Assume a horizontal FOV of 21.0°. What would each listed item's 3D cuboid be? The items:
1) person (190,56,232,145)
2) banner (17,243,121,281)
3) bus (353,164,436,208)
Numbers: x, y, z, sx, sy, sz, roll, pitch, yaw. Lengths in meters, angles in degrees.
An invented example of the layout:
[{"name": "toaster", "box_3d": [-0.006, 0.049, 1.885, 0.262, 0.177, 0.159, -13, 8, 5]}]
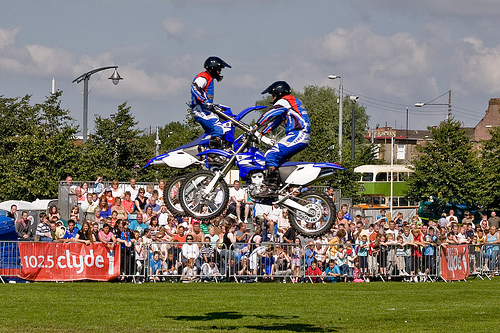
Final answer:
[{"name": "person", "box_3d": [-1.814, -2.828, 59.935, 1.485, 3.712, 1.078, 1, -8, -6]}, {"name": "banner", "box_3d": [-8.575, 4.473, 63.079, 3.985, 1.685, 0.798, 0, -7, 5]}, {"name": "bus", "box_3d": [10.576, 1.833, 104.024, 2.714, 3.867, 8.068, 7, 9, 43]}]
